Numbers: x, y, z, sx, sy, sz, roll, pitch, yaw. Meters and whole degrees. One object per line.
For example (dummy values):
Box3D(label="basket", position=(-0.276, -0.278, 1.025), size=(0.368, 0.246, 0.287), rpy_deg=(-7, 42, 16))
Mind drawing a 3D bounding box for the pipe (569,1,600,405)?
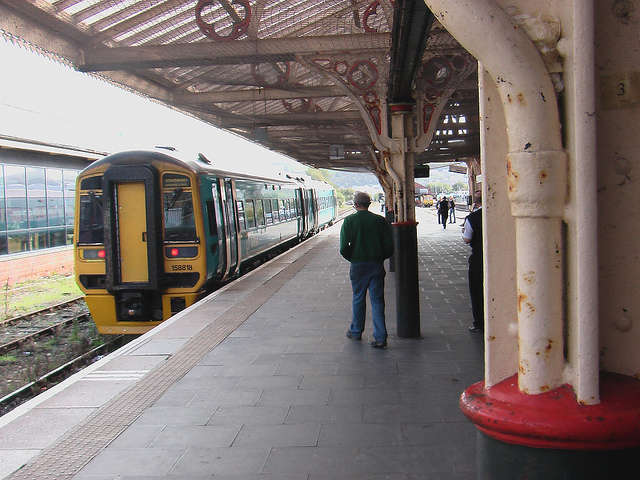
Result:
Box3D(label="pipe", position=(0.871, -0.122, 1.707), size=(0.080, 1.329, 0.122), rpy_deg=(-1, 6, 17))

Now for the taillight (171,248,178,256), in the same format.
Box3D(label="taillight", position=(-2.527, 0.214, 9.118), size=(0.112, 0.106, 0.047), rpy_deg=(2, 0, -6))

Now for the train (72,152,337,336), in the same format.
Box3D(label="train", position=(-2.117, -0.094, 12.079), size=(1.949, 3.438, 7.360), rpy_deg=(-1, 5, 17))

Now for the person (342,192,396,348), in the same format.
Box3D(label="person", position=(0.596, 0.467, 6.345), size=(0.612, 1.631, 0.417), rpy_deg=(-1, 6, 10))

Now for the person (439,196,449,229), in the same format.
Box3D(label="person", position=(6.387, -1.386, 26.618), size=(0.387, 1.585, 1.587), rpy_deg=(-1, 5, 13))

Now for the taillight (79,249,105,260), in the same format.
Box3D(label="taillight", position=(-3.936, 0.252, 9.009), size=(0.476, 0.178, 0.030), rpy_deg=(-1, 6, 10))
